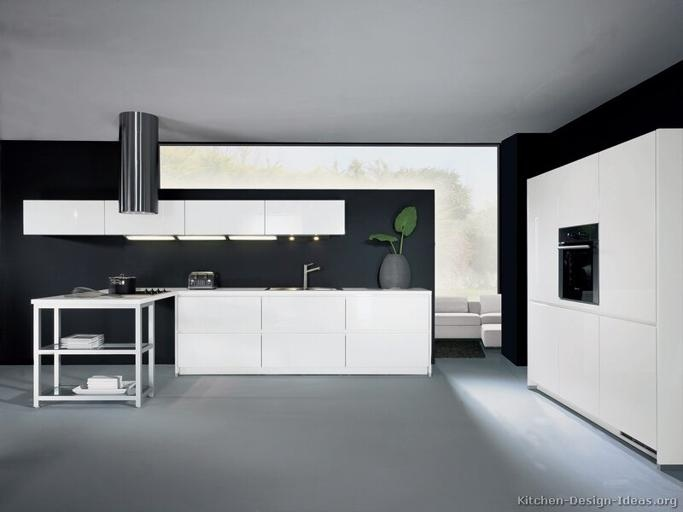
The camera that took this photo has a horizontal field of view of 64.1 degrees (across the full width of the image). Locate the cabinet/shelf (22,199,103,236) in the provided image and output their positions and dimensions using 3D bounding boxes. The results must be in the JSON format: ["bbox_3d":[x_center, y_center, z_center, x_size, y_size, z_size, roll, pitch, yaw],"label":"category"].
[{"bbox_3d":[-3.470,-0.579,6.807,0.890,0.466,0.477,-2,29,-31],"label":"cabinet/shelf"}]

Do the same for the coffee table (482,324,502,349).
[{"bbox_3d":[2.106,1.119,7.659,0.260,0.320,0.144,2,9,15],"label":"coffee table"}]

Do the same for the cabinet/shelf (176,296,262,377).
[{"bbox_3d":[-1.491,0.924,6.805,1.023,1.042,0.582,0,1,-4],"label":"cabinet/shelf"}]

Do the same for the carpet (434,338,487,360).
[{"bbox_3d":[1.635,1.263,7.499,0.727,0.160,0.420,0,9,2],"label":"carpet"}]

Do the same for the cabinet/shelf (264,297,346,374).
[{"bbox_3d":[-0.399,0.818,6.915,1.139,1.156,0.820,0,0,3],"label":"cabinet/shelf"}]

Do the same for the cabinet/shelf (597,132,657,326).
[{"bbox_3d":[2.405,-0.038,4.633,0.145,1.224,0.501,-21,20,-38],"label":"cabinet/shelf"}]

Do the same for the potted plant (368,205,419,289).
[{"bbox_3d":[0.768,-0.087,7.082,0.493,1.055,0.722,-7,-19,38],"label":"potted plant"}]

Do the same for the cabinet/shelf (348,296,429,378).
[{"bbox_3d":[0.571,0.832,6.929,1.087,1.068,0.902,-2,18,0],"label":"cabinet/shelf"}]

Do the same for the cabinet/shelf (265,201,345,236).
[{"bbox_3d":[-0.451,-0.480,6.725,0.972,0.418,0.201,-2,9,-9],"label":"cabinet/shelf"}]

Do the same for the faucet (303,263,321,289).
[{"bbox_3d":[-0.385,0.256,7.063,0.215,0.312,0.214,-1,9,-4],"label":"faucet"}]

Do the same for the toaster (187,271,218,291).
[{"bbox_3d":[-1.741,0.314,6.846,0.347,0.212,0.576,-3,9,-13],"label":"toaster"}]

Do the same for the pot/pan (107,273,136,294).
[{"bbox_3d":[-2.500,0.331,6.204,0.285,0.235,0.245,4,-5,-25],"label":"pot/pan"}]

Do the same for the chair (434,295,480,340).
[{"bbox_3d":[1.668,0.860,7.770,0.643,0.559,0.384,1,9,8],"label":"chair"}]

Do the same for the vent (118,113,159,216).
[{"bbox_3d":[-2.312,-1.053,6.328,0.417,1.120,0.433,2,1,5],"label":"vent"}]

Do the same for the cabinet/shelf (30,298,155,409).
[{"bbox_3d":[-2.602,0.905,5.887,1.145,1.233,1.204,0,-3,-2],"label":"cabinet/shelf"}]

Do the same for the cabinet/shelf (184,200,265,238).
[{"bbox_3d":[-1.429,-0.475,6.703,0.965,0.405,0.197,0,9,7],"label":"cabinet/shelf"}]
